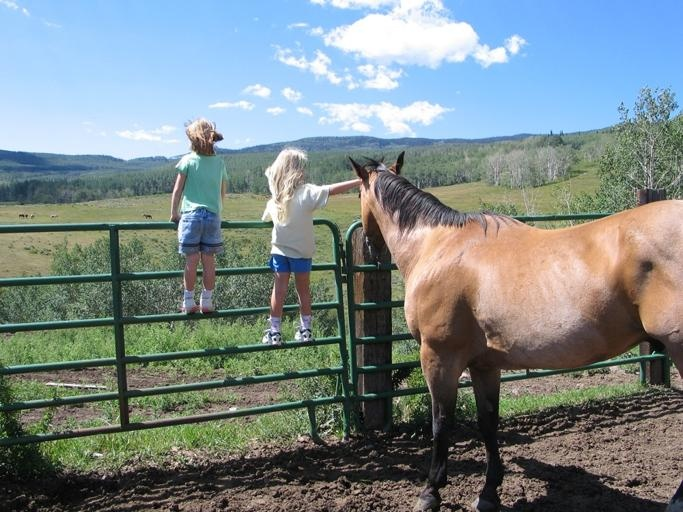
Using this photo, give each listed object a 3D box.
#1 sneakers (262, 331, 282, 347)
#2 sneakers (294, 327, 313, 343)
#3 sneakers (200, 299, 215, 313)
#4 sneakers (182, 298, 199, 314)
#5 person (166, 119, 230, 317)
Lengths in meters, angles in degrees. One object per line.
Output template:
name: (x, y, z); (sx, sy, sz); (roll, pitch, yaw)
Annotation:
sneakers: (-0.724, 0.839, 5.857); (0.109, 0.107, 0.224); (0, 5, -22)
sneakers: (-0.385, 0.810, 5.848); (0.106, 0.133, 0.195); (0, 7, -16)
sneakers: (-1.341, 0.491, 5.655); (0.141, 0.137, 0.177); (-3, 6, -15)
sneakers: (-1.514, 0.489, 5.601); (0.181, 0.149, 0.164); (-1, 6, 5)
person: (-1.437, -0.435, 5.759); (0.558, 1.942, 0.636); (-3, 6, -13)
